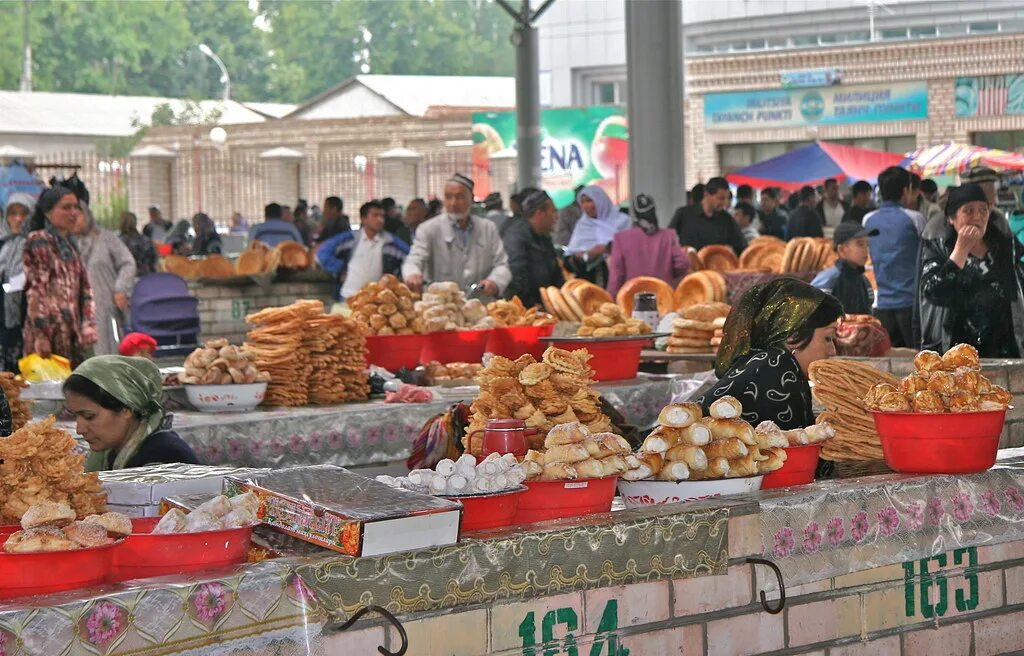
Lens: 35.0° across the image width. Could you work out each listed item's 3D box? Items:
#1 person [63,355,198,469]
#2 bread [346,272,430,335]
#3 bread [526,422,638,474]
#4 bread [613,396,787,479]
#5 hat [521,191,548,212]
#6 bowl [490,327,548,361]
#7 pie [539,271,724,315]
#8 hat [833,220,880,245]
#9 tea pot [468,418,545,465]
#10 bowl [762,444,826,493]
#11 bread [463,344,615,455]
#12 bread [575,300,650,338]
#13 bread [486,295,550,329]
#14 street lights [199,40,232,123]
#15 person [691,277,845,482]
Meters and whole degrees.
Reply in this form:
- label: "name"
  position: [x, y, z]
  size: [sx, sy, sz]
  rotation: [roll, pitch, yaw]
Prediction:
- label: "person"
  position: [-2.447, 0.523, 10.477]
  size: [0.704, 0.868, 0.904]
  rotation: [-18, 2, -15]
- label: "bread"
  position: [-0.932, -0.194, 11.638]
  size: [0.448, 0.323, 0.432]
  rotation: [3, 4, -19]
- label: "bread"
  position: [0.392, 0.722, 9.268]
  size: [0.390, 0.139, 0.383]
  rotation: [-4, 1, -31]
- label: "bread"
  position: [1.099, 0.664, 9.375]
  size: [0.544, 0.239, 0.666]
  rotation: [-6, 1, -41]
- label: "hat"
  position: [0.195, -1.184, 15.193]
  size: [0.233, 0.213, 0.217]
  rotation: [-3, 7, -1]
- label: "bowl"
  position: [0.026, 0.092, 11.887]
  size: [0.295, 0.184, 0.293]
  rotation: [0, 1, 0]
- label: "pie"
  position: [1.116, -0.272, 13.062]
  size: [0.767, 0.279, 0.648]
  rotation: [0, 3, 19]
- label: "hat"
  position: [2.899, -0.818, 13.819]
  size: [0.335, 0.170, 0.218]
  rotation: [-9, 4, 17]
- label: "tea pot"
  position: [-0.031, 0.673, 9.482]
  size: [0.368, 0.259, 0.259]
  rotation: [-6, -1, 11]
- label: "bowl"
  position: [1.654, 0.817, 9.541]
  size: [0.284, 0.177, 0.283]
  rotation: [-1, -2, 0]
- label: "bread"
  position: [0.130, 0.394, 9.595]
  size: [0.692, 0.290, 0.681]
  rotation: [-19, 38, -11]
- label: "bread"
  position: [0.705, -0.062, 11.520]
  size: [0.516, 0.227, 0.341]
  rotation: [-2, 7, 3]
- label: "bread"
  position: [0.010, -0.120, 12.091]
  size: [0.448, 0.182, 0.519]
  rotation: [-5, 7, -20]
- label: "street lights"
  position: [-4.025, -3.453, 21.859]
  size: [0.389, 0.773, 1.582]
  rotation: [-4, 7, -11]
- label: "person"
  position: [1.527, 0.279, 10.218]
  size: [0.876, 1.117, 0.802]
  rotation: [3, 5, 19]
